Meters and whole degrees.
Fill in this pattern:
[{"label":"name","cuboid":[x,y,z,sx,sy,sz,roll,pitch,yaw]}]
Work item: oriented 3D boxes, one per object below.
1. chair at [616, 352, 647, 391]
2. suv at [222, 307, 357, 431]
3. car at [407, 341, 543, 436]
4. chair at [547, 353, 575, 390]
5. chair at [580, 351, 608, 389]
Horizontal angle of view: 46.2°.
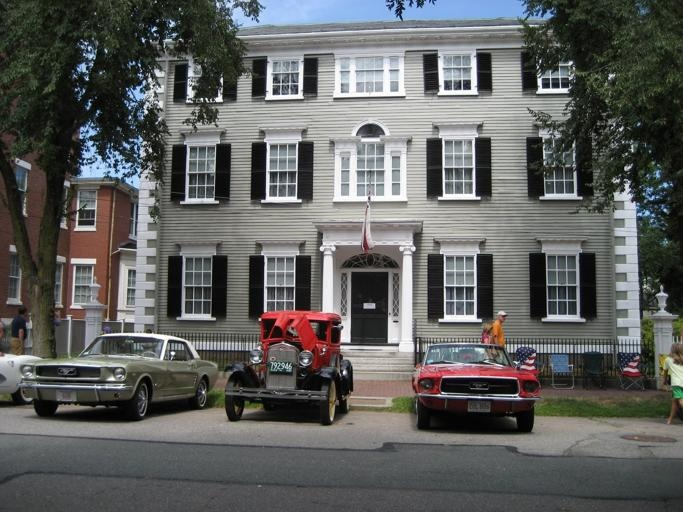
[{"label":"chair","cuboid":[9.219,3.653,25.572,0.705,1.092,0.985,-1,-7,20]},{"label":"suv","cuboid":[-1.128,2.450,19.010,1.918,1.723,3.434,-1,-14,7]},{"label":"car","cuboid":[3.076,3.054,18.346,2.693,1.727,2.132,2,1,15]},{"label":"chair","cuboid":[6.992,3.619,25.375,0.652,0.990,0.782,-1,-8,16]},{"label":"chair","cuboid":[8.005,3.627,25.381,0.770,1.155,0.873,-2,-4,26]}]
